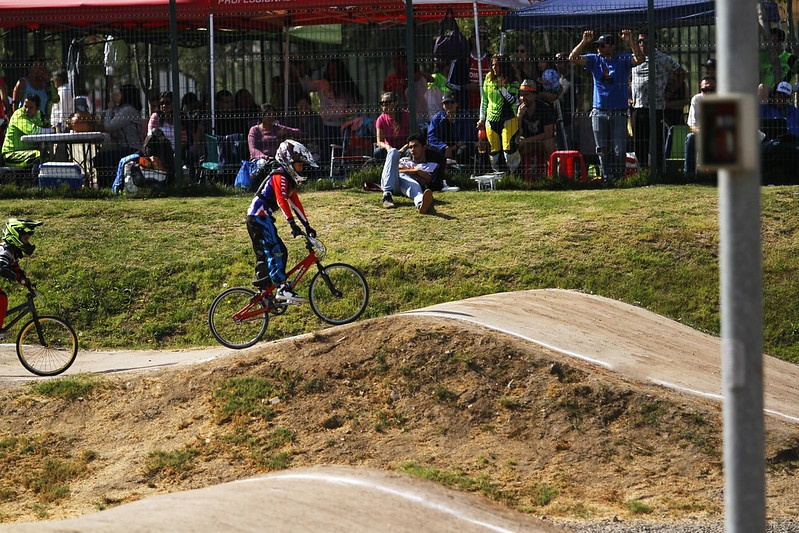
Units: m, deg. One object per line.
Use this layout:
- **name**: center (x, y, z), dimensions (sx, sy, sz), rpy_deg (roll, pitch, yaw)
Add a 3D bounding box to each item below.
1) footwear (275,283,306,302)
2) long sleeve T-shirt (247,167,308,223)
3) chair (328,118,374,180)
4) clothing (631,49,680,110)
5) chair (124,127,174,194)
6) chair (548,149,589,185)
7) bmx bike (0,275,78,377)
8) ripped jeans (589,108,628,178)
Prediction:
- **footwear**: center (-1.824, 0.433, 24.115), dimensions (0.527, 0.466, 0.225), rpy_deg (1, -3, 4)
- **long sleeve T-shirt**: center (-2.094, -1.185, 24.630), dimensions (0.850, 1.291, 0.789), rpy_deg (6, 2, 4)
- **chair**: center (-0.962, -2.363, 28.409), dimensions (0.673, 1.539, 0.986), rpy_deg (-1, 9, -16)
- **clothing**: center (5.015, -3.709, 28.077), dimensions (0.722, 0.721, 0.319), rpy_deg (-19, 11, 14)
- **chair**: center (-5.165, -2.043, 28.966), dimensions (1.088, 1.433, 0.860), rpy_deg (0, 5, -9)
- **chair**: center (3.313, -1.976, 28.309), dimensions (0.553, 0.649, 0.644), rpy_deg (-2, 4, 4)
- **bmx bike**: center (-6.123, 1.095, 23.962), dimensions (1.633, 1.442, 0.948), rpy_deg (1, 0, -4)
- **ripped jeans**: center (4.174, -2.412, 28.273), dimensions (0.670, 1.375, 0.221), rpy_deg (-1, 4, 8)
